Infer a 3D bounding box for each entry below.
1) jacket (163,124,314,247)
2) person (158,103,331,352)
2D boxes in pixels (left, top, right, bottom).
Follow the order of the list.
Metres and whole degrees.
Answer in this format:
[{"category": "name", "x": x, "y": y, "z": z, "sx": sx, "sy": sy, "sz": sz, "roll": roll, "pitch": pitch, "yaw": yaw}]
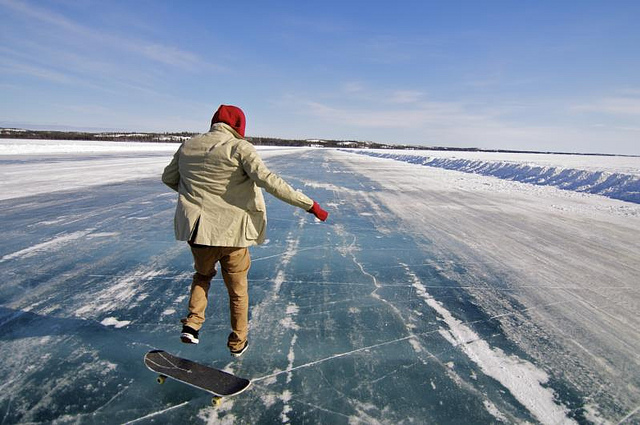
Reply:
[{"category": "jacket", "x": -0.970, "y": -0.298, "z": 3.621, "sx": 1.354, "sy": 1.294, "sz": 0.628, "roll": 8, "pitch": 19, "yaw": -5}, {"category": "person", "x": -1.128, "y": 0.181, "z": 3.755, "sx": 1.337, "sy": 2.716, "sz": 0.985, "roll": 25, "pitch": 24, "yaw": 37}]
